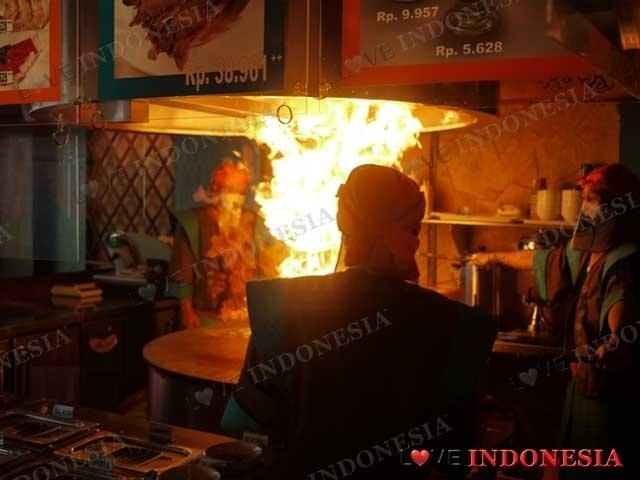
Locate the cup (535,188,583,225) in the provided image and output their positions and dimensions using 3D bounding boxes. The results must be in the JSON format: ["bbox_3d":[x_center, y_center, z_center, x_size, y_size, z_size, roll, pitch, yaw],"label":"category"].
[{"bbox_3d":[0.782,-0.108,2.155,0.175,0.123,0.065,-6,9,-25],"label":"cup"}]
